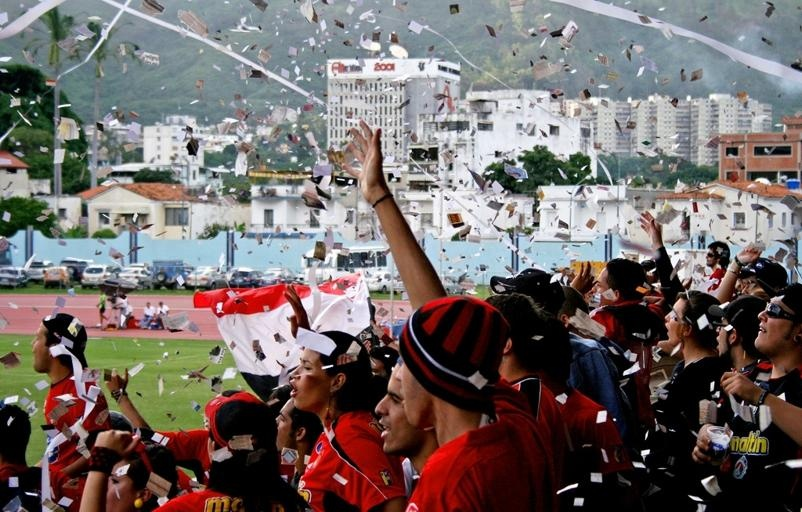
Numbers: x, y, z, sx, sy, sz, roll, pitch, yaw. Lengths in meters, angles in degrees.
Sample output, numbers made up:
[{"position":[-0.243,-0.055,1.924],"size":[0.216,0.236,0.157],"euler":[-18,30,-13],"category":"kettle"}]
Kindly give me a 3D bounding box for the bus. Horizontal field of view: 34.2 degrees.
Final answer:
[{"position":[-3.222,0.711,89.318],"size":[5.349,2.522,3.861],"euler":[-4,-1,10],"category":"bus"}]
